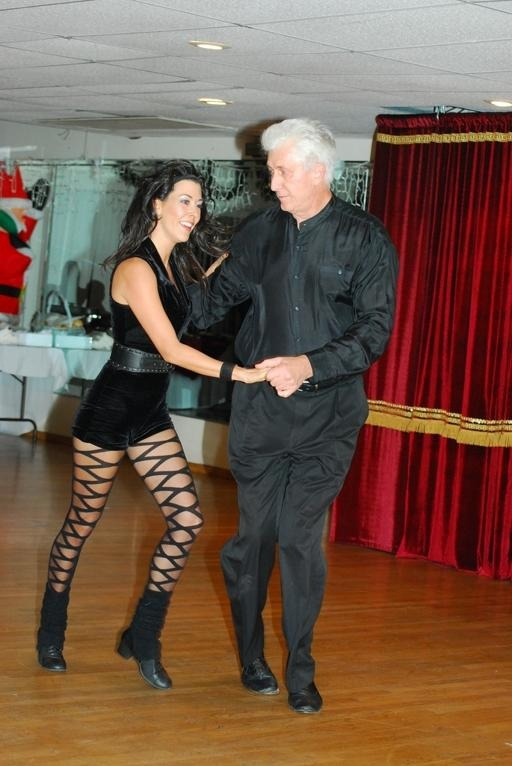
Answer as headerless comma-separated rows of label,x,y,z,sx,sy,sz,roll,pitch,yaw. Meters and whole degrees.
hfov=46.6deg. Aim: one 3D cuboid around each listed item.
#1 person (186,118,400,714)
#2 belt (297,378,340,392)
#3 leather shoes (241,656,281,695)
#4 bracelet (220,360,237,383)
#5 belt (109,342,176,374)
person,0.057,0.136,1.634,0.469,1.068,0.577,7,-3,-13
belt,0.167,0.006,1.525,0.106,0.040,0.049,6,-3,-3
leather shoes,0.010,0.858,1.755,0.060,0.059,0.146,1,-8,-25
bracelet,-0.072,-0.030,1.522,0.040,0.050,0.042,6,4,-6
belt,-0.327,-0.065,1.683,0.177,0.071,0.083,6,-3,-13
